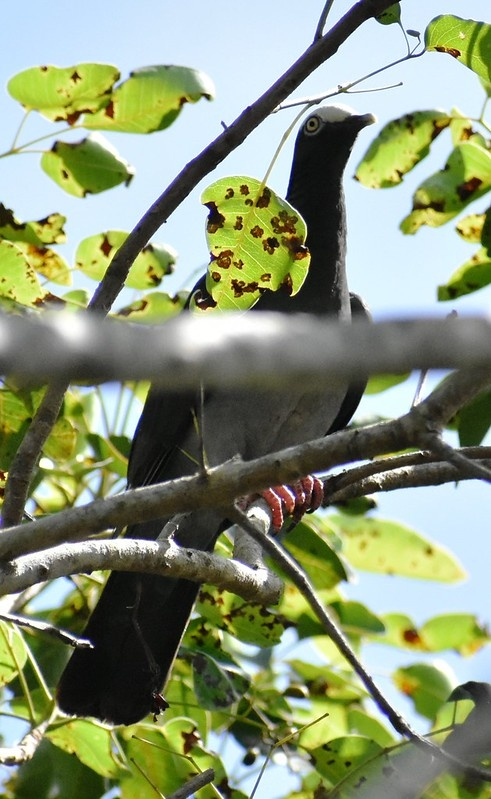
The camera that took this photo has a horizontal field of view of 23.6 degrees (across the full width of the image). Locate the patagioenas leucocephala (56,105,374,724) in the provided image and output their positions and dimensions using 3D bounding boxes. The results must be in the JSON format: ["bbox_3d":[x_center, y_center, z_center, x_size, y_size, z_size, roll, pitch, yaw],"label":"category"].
[{"bbox_3d":[0.099,0.074,3.770,0.939,1.972,1.308,-1,10,-12],"label":"patagioenas leucocephala"}]
